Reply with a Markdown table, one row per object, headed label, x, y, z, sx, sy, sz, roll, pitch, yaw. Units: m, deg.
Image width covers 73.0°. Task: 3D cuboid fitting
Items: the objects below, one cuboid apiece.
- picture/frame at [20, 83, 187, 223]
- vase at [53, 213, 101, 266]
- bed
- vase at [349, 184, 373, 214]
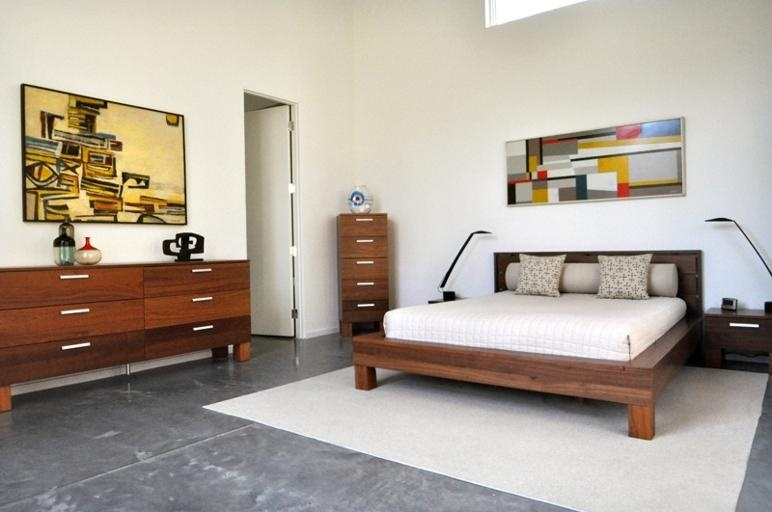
| label | x | y | z | sx | sy | sz | roll | pitch | yaw |
| --- | --- | --- | --- | --- | --- | --- | --- | --- | --- |
| picture/frame | -2.652 | -0.950 | 4.784 | 0.055 | 1.176 | 1.572 | -2 | -2 | 42 |
| vase | -2.704 | -0.134 | 4.521 | 0.339 | 0.417 | 0.322 | -8 | 12 | -31 |
| bed | 1.697 | 0.864 | 4.546 | 1.986 | 0.838 | 2.061 | -3 | -3 | 36 |
| vase | -0.327 | -0.738 | 6.692 | 0.346 | 0.363 | 0.333 | -2 | -1 | 2 |
